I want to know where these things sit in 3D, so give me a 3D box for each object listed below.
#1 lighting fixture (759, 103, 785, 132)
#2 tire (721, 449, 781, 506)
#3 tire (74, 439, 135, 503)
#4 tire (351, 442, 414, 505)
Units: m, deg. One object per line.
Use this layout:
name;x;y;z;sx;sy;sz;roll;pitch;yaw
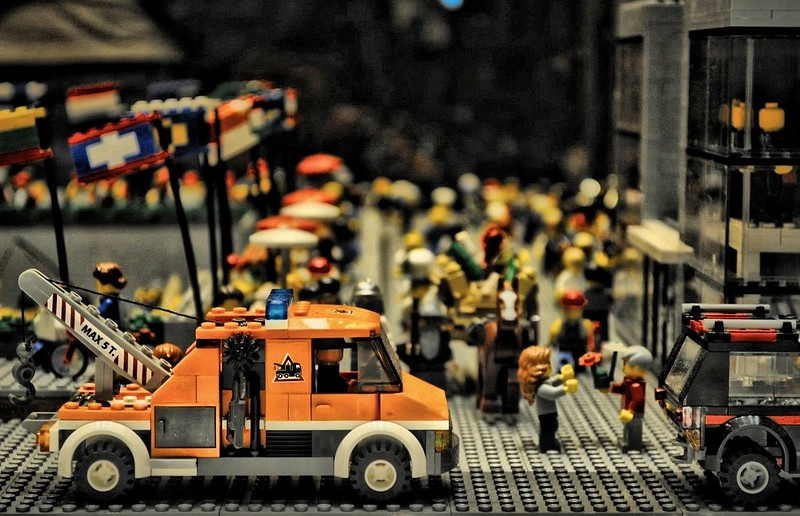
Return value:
lighting fixture;3.345;-1.252;10.755;0.245;0.348;0.244;0;1;-1
tire;2.908;1.808;9.904;0.437;0.435;0.142;-5;4;-4
tire;-2.456;1.739;9.893;0.486;0.485;0.154;6;6;2
tire;-0.157;1.768;9.918;0.497;0.497;0.152;3;6;1
